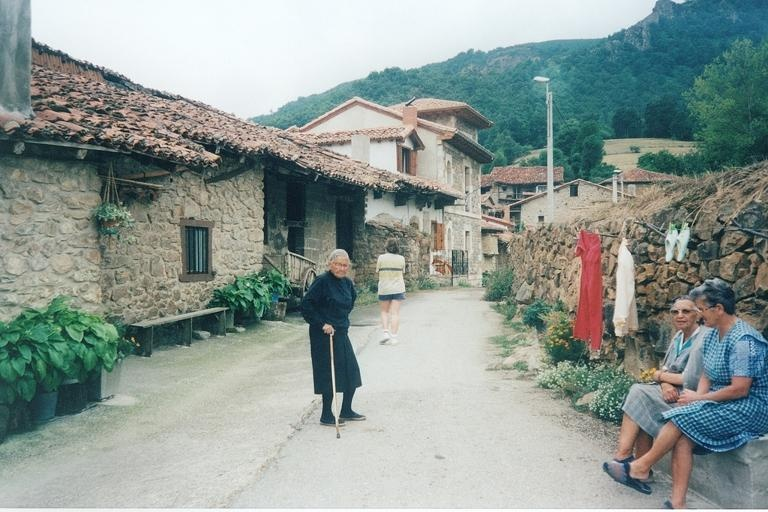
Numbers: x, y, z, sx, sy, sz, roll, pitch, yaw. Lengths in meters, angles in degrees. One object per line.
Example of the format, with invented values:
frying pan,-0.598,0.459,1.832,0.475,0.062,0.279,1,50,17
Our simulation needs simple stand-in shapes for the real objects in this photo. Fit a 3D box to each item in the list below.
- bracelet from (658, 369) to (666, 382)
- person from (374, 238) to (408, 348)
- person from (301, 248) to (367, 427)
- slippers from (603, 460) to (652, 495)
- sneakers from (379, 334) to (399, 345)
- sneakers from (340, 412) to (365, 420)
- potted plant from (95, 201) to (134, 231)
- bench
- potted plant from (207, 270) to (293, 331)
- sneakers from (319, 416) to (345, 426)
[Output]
bracelet,3.580,1.537,8.795,0.058,0.121,0.096,11,-10,-37
person,0.133,0.705,14.131,0.521,2.105,0.716,-2,14,-2
person,-0.766,1.196,10.073,0.817,2.471,0.779,-6,15,-19
slippers,3.046,2.719,8.488,0.667,0.229,0.274,25,12,3
sneakers,0.079,1.688,14.125,0.342,0.202,0.246,2,13,11
sneakers,-0.483,2.374,10.211,0.409,0.153,0.134,-2,-4,0
potted plant,-4.711,-0.706,11.661,0.583,0.408,0.589,-5,8,-43
bench,-4.130,1.493,14.055,0.366,0.509,2.255,-4,2,35
potted plant,-3.285,1.056,15.884,1.239,0.858,1.472,-2,5,22
sneakers,-0.796,2.408,9.998,0.309,0.115,0.173,-1,-2,10
